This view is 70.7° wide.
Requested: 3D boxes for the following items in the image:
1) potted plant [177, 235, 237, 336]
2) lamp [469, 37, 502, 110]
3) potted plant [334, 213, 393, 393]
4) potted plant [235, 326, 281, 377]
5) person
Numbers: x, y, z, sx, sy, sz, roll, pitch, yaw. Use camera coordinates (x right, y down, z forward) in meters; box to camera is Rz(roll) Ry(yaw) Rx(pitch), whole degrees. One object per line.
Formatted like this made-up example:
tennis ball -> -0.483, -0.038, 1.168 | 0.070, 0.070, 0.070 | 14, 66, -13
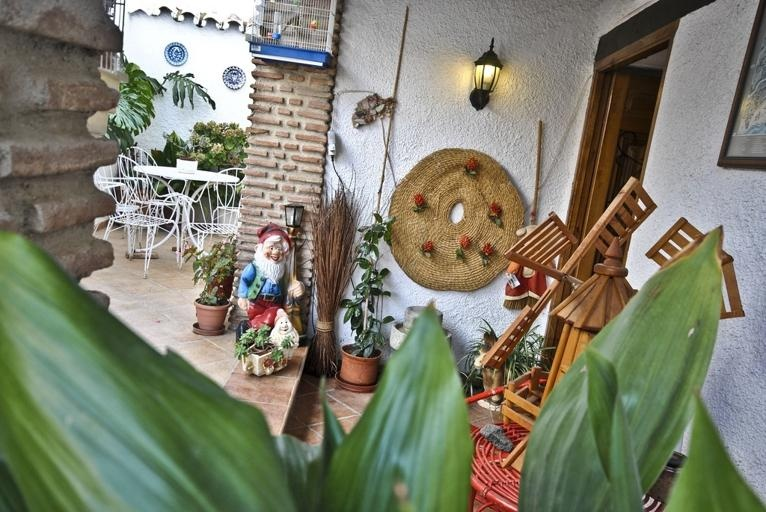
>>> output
potted plant -> -1.218, 0.196, 3.826 | 0.313, 0.666, 0.449 | 4, 8, -17
lamp -> 0.644, -1.135, 3.363 | 0.158, 0.401, 0.185 | 8, 7, -12
potted plant -> -0.099, 0.293, 3.562 | 0.347, 1.144, 0.357 | 6, 7, 0
potted plant -> -0.720, 0.562, 3.142 | 0.246, 0.200, 0.275 | 3, 6, 1
person -> -0.734, 0.170, 3.530 | 0.381, 0.747, 0.369 | 8, 7, 11
